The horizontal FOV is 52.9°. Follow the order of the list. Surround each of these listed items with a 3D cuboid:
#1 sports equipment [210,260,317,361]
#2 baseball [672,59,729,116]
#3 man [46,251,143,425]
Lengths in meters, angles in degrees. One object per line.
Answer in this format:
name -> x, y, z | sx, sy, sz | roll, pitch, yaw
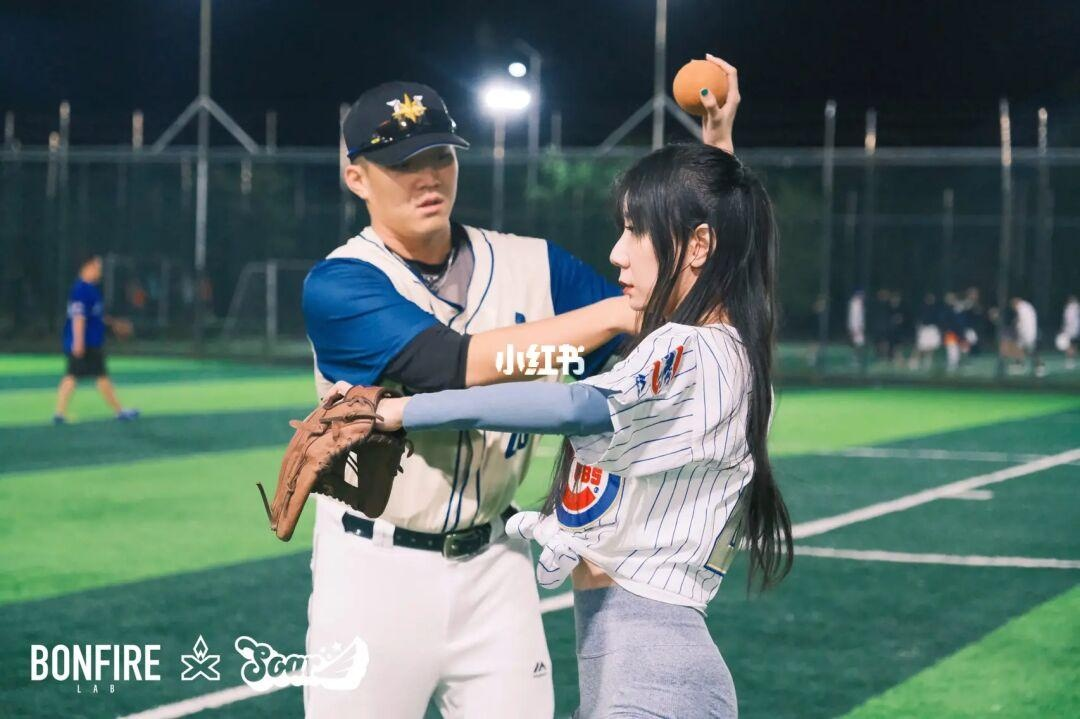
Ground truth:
sports equipment -> -6.559, -1.461, 24.241 | 2.448, 2.581, 2.027 | 1, -2, -11
baseball -> 0.964, -1.584, 6.553 | 0.313, 0.361, 0.323 | -12, -4, 20
man -> -6.542, -0.258, 15.710 | 0.815, 2.385, 1.137 | 6, 11, 28
